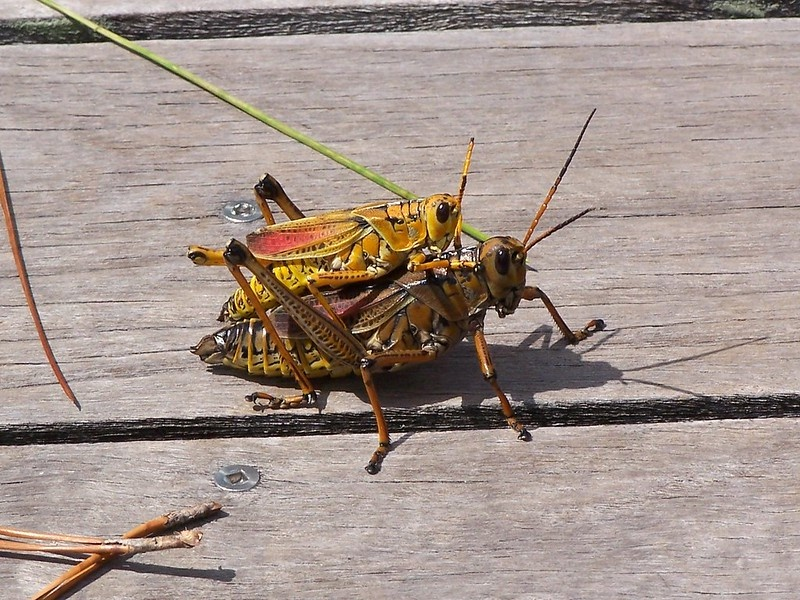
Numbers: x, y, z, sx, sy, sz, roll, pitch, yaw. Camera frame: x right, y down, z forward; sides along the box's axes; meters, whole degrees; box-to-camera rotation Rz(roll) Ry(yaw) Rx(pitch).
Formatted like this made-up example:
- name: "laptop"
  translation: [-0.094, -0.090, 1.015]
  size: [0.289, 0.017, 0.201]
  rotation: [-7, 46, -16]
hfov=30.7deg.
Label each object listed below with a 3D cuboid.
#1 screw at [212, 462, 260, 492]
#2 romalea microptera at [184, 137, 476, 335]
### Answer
- name: "screw"
  translation: [-0.343, 0.381, 3.091]
  size: [0.068, 0.023, 0.063]
  rotation: [16, 32, 24]
- name: "romalea microptera"
  translation: [-0.113, -0.151, 3.530]
  size: [0.813, 0.305, 0.352]
  rotation: [-18, 15, 4]
